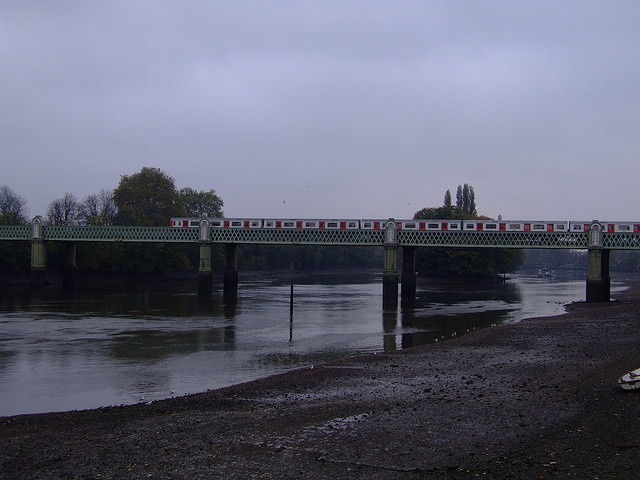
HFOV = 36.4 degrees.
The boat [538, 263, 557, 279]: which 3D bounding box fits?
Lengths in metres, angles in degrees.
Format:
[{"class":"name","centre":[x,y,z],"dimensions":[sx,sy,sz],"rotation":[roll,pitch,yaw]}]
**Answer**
[{"class":"boat","centre":[66.561,8.727,281.759],"dimensions":[3.197,3.933,10.416],"rotation":[1,1,11]}]

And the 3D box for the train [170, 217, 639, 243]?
[{"class":"train","centre":[10.028,-1.037,105.560],"dimensions":[47.451,2.839,2.641],"rotation":[0,1,10]}]
